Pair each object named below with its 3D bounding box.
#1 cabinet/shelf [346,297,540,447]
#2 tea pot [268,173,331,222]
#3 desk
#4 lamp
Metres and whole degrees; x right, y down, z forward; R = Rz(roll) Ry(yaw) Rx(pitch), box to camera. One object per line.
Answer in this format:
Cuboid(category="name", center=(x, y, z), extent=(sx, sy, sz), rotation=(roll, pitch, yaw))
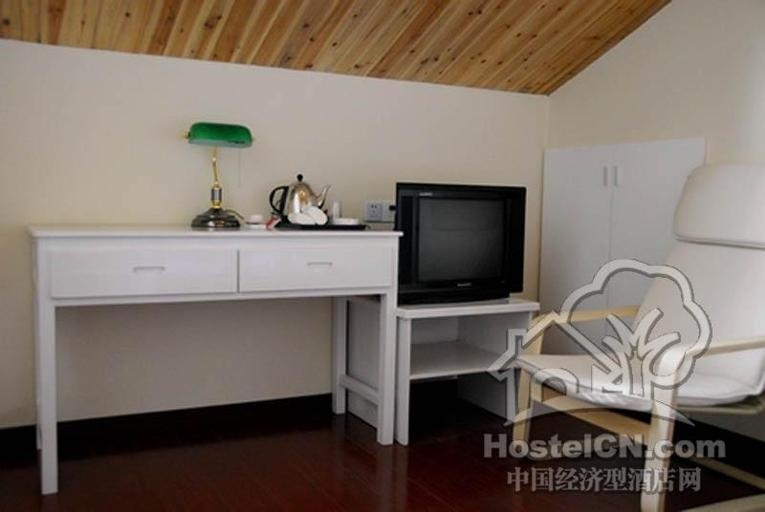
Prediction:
Cuboid(category="cabinet/shelf", center=(0.311, 0.608, 3.185), extent=(0.824, 0.663, 0.689), rotation=(0, 4, -36))
Cuboid(category="tea pot", center=(-0.488, -0.333, 3.097), extent=(0.234, 0.240, 0.405), rotation=(-6, 13, -30))
Cuboid(category="desk", center=(-0.814, 0.438, 2.948), extent=(1.683, 1.161, 0.637), rotation=(-1, 4, -24))
Cuboid(category="lamp", center=(-0.856, -0.437, 2.975), extent=(0.367, 0.551, 0.422), rotation=(-3, 12, -19))
